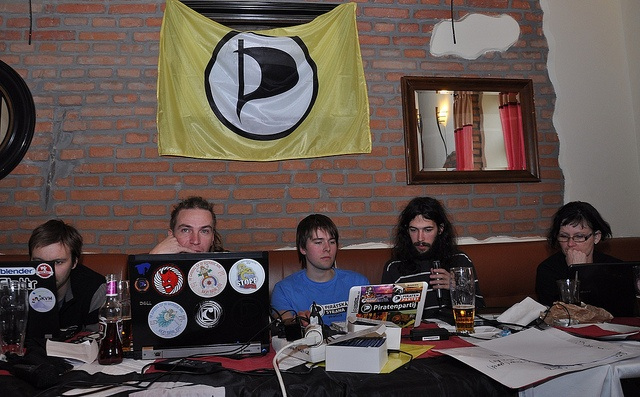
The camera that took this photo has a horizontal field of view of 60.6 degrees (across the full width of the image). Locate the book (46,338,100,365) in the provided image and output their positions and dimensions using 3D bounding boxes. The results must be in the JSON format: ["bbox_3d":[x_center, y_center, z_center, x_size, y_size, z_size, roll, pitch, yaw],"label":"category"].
[{"bbox_3d":[-1.202,0.736,2.653,0.153,0.052,0.141,4,2,-27],"label":"book"}]

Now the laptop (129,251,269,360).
[{"bbox_3d":[-0.605,0.443,2.945,0.784,0.519,0.538,0,4,-3],"label":"laptop"}]

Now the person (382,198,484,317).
[{"bbox_3d":[0.729,0.371,3.639,0.627,0.780,0.710,0,-4,5],"label":"person"}]

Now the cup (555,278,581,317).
[{"bbox_3d":[1.343,0.522,2.948,0.113,0.175,0.142,-1,-4,23],"label":"cup"}]

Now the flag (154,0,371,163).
[{"bbox_3d":[-0.503,-0.876,4.178,1.507,0.920,0.040,-1,2,-3],"label":"flag"}]

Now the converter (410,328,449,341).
[{"bbox_3d":[0.556,0.686,2.774,0.179,0.054,0.111,2,-4,-27],"label":"converter"}]

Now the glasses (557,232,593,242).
[{"bbox_3d":[1.668,0.252,3.562,0.200,0.061,0.064,-1,-4,25],"label":"glasses"}]

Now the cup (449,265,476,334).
[{"bbox_3d":[0.756,0.524,2.860,0.148,0.334,0.124,1,-4,-6],"label":"cup"}]

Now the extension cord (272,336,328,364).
[{"bbox_3d":[-0.138,0.729,2.633,0.322,0.090,0.107,-2,-4,34],"label":"extension cord"}]

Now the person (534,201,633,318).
[{"bbox_3d":[1.628,0.390,3.442,0.468,0.669,0.514,16,-21,-26],"label":"person"}]

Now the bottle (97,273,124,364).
[{"bbox_3d":[-1.034,0.584,2.719,0.113,0.423,0.184,2,-5,-19],"label":"bottle"}]

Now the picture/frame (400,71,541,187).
[{"bbox_3d":[1.150,-0.524,4.344,1.108,0.688,0.045,0,-4,-12],"label":"picture/frame"}]

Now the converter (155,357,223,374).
[{"bbox_3d":[-0.611,0.778,2.564,0.172,0.023,0.113,1,-1,9],"label":"converter"}]

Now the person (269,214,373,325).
[{"bbox_3d":[-0.003,0.414,3.392,0.591,0.647,0.442,0,-4,3],"label":"person"}]
